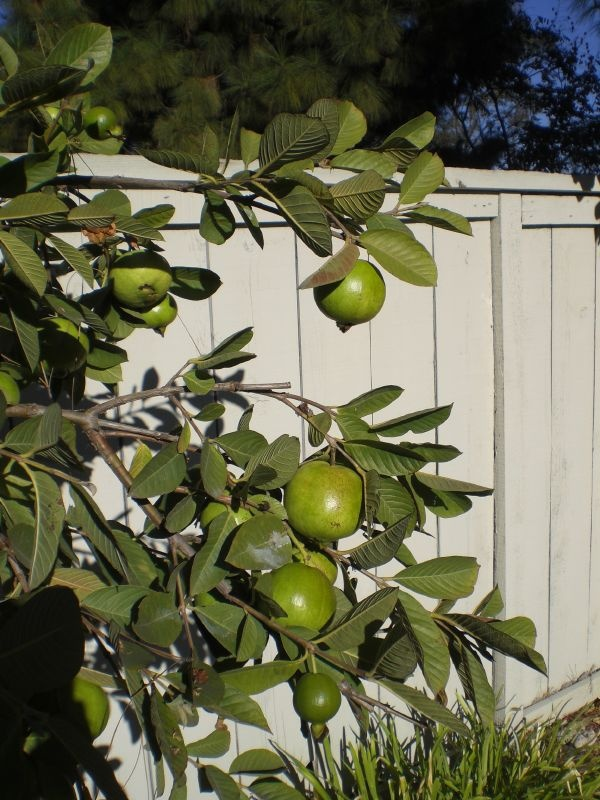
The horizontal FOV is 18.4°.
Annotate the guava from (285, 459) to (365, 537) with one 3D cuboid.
[{"bbox_3d":[0.079,0.277,5.173,0.214,0.246,0.227,7,-8,8],"label":"guava"}]

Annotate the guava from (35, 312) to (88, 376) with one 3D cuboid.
[{"bbox_3d":[-0.671,-0.141,5.256,0.114,0.113,0.135,3,47,-9],"label":"guava"}]

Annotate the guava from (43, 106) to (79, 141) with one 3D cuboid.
[{"bbox_3d":[-0.659,-0.778,5.170,0.091,0.104,0.040,-3,13,-25],"label":"guava"}]

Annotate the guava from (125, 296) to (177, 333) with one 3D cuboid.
[{"bbox_3d":[-0.413,-0.241,5.356,0.101,0.127,0.120,4,14,18],"label":"guava"}]

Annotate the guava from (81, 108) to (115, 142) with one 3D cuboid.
[{"bbox_3d":[-0.559,-0.783,5.289,0.084,0.097,0.087,9,2,13],"label":"guava"}]

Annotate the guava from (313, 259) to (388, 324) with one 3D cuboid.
[{"bbox_3d":[0.142,-0.295,5.118,0.178,0.179,0.172,-1,2,9],"label":"guava"}]
